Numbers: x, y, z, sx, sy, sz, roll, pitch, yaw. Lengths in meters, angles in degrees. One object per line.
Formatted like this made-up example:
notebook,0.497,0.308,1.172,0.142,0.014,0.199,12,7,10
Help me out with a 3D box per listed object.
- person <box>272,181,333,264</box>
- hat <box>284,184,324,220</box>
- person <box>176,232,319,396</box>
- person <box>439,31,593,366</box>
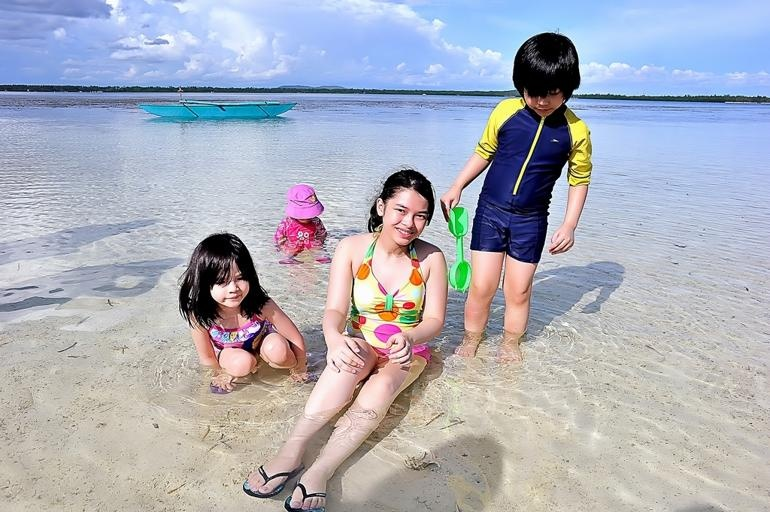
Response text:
person,-1.158,-0.391,6.877,0.837,1.015,0.955,23,30,33
hat,-1.192,-0.784,7.046,0.503,0.271,0.545,-6,18,-18
person,-1.150,0.463,4.025,1.136,1.153,0.790,1,15,6
person,1.170,-0.472,4.429,1.139,2.767,0.712,9,21,17
